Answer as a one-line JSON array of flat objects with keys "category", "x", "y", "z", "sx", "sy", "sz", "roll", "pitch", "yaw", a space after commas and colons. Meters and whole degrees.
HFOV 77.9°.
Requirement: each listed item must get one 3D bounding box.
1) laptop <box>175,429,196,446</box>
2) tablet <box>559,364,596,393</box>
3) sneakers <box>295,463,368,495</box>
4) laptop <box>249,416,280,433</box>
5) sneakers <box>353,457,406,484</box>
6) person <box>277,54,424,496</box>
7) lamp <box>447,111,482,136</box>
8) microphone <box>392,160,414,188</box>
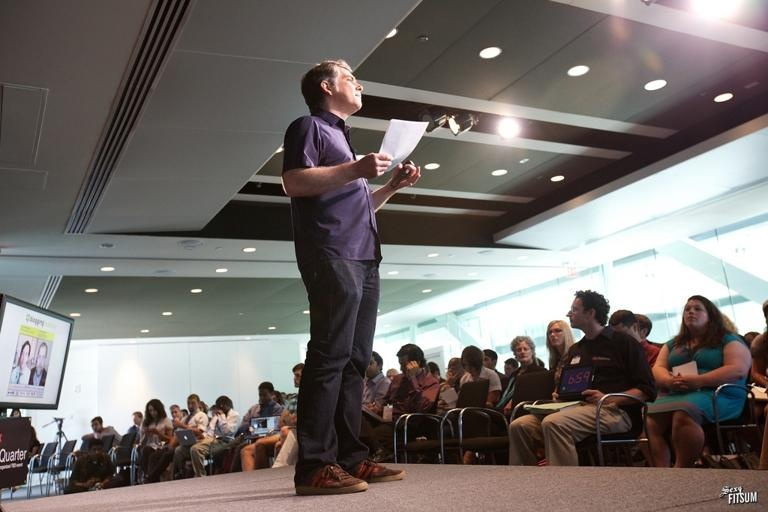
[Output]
[{"category": "laptop", "x": -3.392, "y": 3.082, "z": 8.131, "sx": 0.390, "sy": 0.250, "sz": 0.273, "roll": -5, "pitch": 0, "yaw": 15}, {"category": "tablet", "x": 1.512, "y": 0.965, "z": 3.696, "sx": 0.026, "sy": 0.172, "sz": 0.244, "roll": 27, "pitch": -25, "yaw": -13}, {"category": "sneakers", "x": -0.227, "y": 0.928, "z": 1.974, "sx": 0.251, "sy": 0.092, "sz": 0.124, "roll": -3, "pitch": -25, "yaw": 5}, {"category": "laptop", "x": -1.916, "y": 2.692, "z": 7.498, "sx": 0.383, "sy": 0.242, "sz": 0.243, "roll": 1, "pitch": -3, "yaw": -9}, {"category": "sneakers", "x": -0.027, "y": 1.010, "z": 2.215, "sx": 0.241, "sy": 0.082, "sz": 0.089, "roll": 0, "pitch": -12, "yaw": -3}, {"category": "person", "x": -0.169, "y": -0.018, "z": 2.205, "sx": 0.566, "sy": 2.036, "sz": 0.697, "roll": -2, "pitch": -20, "yaw": -5}, {"category": "lamp", "x": 0.922, "y": -1.540, "z": 5.540, "sx": 0.389, "sy": 0.234, "sz": 0.203, "roll": -4, "pitch": -19, "yaw": 0}, {"category": "microphone", "x": 0.097, "y": -0.407, "z": 2.374, "sx": 0.134, "sy": 0.078, "sz": 0.044, "roll": -46, "pitch": -25, "yaw": 5}]
